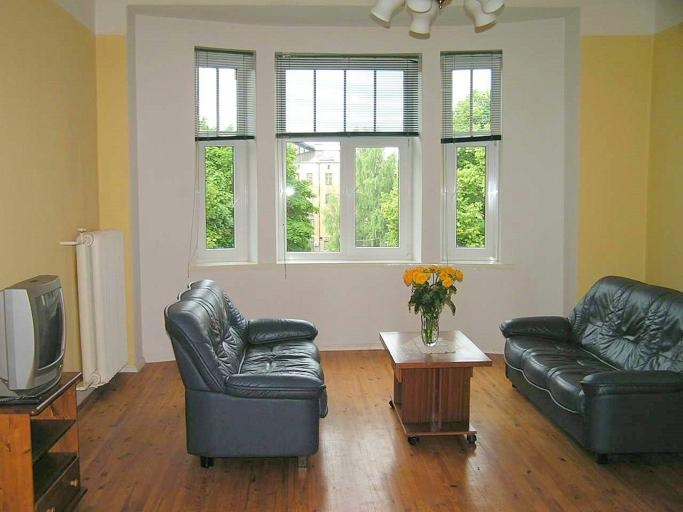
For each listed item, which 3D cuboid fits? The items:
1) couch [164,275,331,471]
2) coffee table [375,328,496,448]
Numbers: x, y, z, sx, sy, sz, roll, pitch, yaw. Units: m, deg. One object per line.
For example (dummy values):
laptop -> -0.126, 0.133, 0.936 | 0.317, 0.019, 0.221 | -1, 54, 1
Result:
couch -> -0.676, 0.799, 4.422 | 1.085, 1.116, 1.342 | -1, 13, -2
coffee table -> 0.733, 1.016, 4.587 | 0.771, 0.634, 0.800 | 1, 14, 3
